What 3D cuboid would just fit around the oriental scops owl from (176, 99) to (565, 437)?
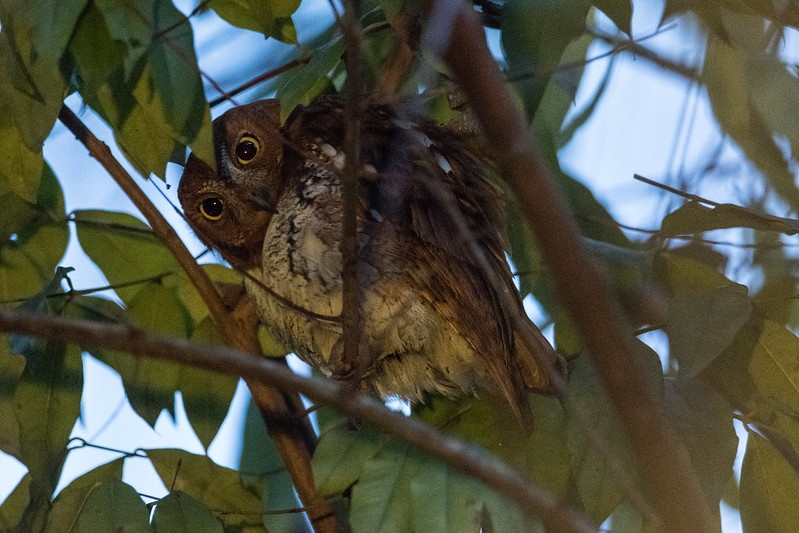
[{"bbox_3d":[-0.099,0.046,3.131,0.831,1.050,0.620,-1,-31,-20],"label":"oriental scops owl"}]
